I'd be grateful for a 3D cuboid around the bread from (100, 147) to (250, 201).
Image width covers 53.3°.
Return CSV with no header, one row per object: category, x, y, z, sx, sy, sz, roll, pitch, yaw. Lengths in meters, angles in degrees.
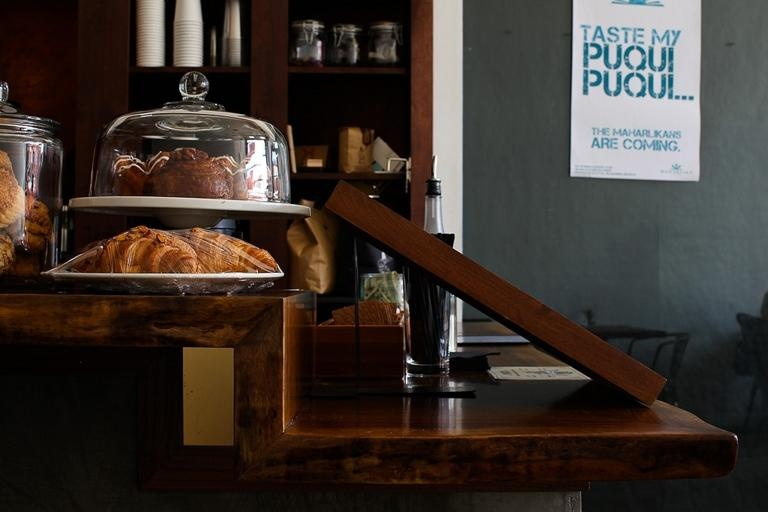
bread,-0.447,-0.173,1.646,0.183,0.060,0.175,2,-4,-11
